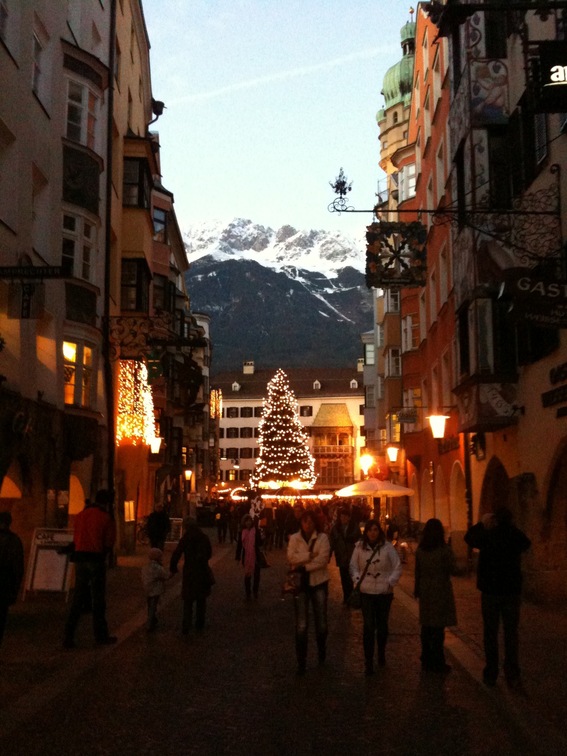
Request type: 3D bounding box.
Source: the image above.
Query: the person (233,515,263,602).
[{"bbox_3d":[-0.684,3.601,16.514,0.530,1.628,1.655,0,-8,-4],"label":"person"}]

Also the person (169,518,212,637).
[{"bbox_3d":[-1.303,2.821,11.718,0.555,1.542,1.447,-1,-7,0],"label":"person"}]

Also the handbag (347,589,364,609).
[{"bbox_3d":[0.752,2.306,8.511,0.128,0.303,0.162,3,-8,-6],"label":"handbag"}]

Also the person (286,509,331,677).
[{"bbox_3d":[0.249,2.215,8.554,0.440,1.583,1.090,-2,-7,11],"label":"person"}]

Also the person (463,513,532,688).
[{"bbox_3d":[1.931,1.805,7.206,0.425,1.657,0.441,2,16,28],"label":"person"}]

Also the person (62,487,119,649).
[{"bbox_3d":[-2.385,2.315,10.105,0.577,1.837,1.063,1,-7,-13],"label":"person"}]

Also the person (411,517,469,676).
[{"bbox_3d":[1.584,2.207,8.410,0.437,1.490,0.695,-2,-7,9],"label":"person"}]

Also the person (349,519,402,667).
[{"bbox_3d":[0.907,2.233,8.513,0.518,1.456,0.740,-5,-8,33],"label":"person"}]

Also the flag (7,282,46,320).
[{"bbox_3d":[-4.150,-1.293,13.266,0.664,0.686,0.439,-2,-7,8],"label":"flag"}]

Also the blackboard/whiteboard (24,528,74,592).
[{"bbox_3d":[-4.174,3.507,14.558,0.820,1.344,0.766,9,-47,-17],"label":"blackboard/whiteboard"}]

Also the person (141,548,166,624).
[{"bbox_3d":[-1.854,3.027,11.763,0.369,1.121,1.051,0,-8,-10],"label":"person"}]

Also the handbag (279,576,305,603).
[{"bbox_3d":[0.105,2.172,8.532,0.210,0.226,0.298,-1,-8,0],"label":"handbag"}]
